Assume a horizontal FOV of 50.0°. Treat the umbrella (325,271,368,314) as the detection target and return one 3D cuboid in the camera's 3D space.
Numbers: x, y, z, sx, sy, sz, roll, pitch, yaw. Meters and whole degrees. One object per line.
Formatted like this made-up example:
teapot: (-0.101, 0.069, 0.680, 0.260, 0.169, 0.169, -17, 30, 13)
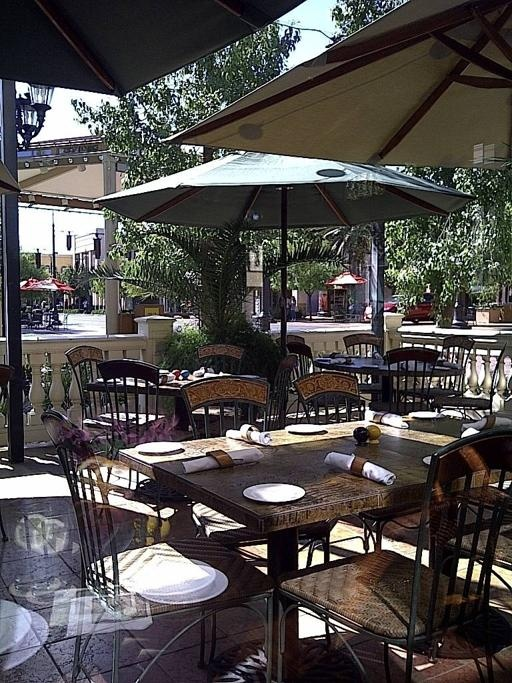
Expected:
umbrella: (5.414, -3.204, 36.441, 2.818, 2.946, 2.772, -1, 3, -10)
